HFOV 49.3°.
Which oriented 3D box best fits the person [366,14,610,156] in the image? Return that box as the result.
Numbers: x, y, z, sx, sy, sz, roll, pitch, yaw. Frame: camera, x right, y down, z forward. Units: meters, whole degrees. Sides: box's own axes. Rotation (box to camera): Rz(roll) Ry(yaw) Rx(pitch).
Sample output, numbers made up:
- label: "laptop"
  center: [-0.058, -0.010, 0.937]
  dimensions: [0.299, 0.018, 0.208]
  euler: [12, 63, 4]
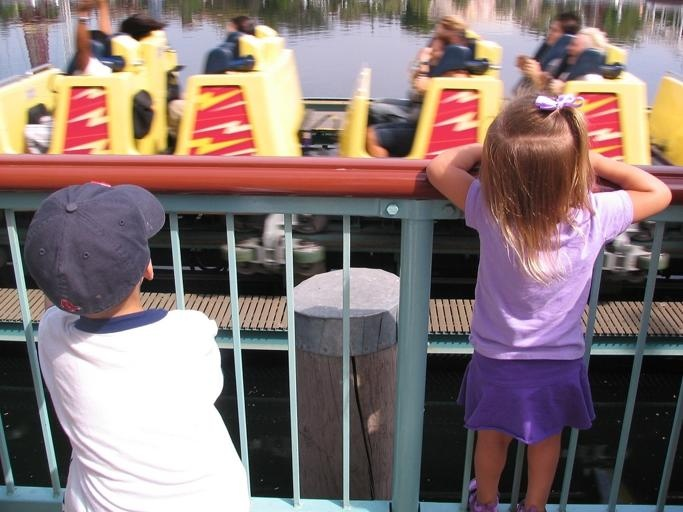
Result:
- label: "person"
  center: [0.852, -1.139, 4.666]
  dimensions: [1.314, 0.658, 0.980]
  euler: [2, 30, 5]

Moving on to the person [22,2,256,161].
- label: "person"
  center: [-1.441, -1.221, 4.954]
  dimensions: [1.865, 0.883, 1.082]
  euler: [-4, 27, -6]
